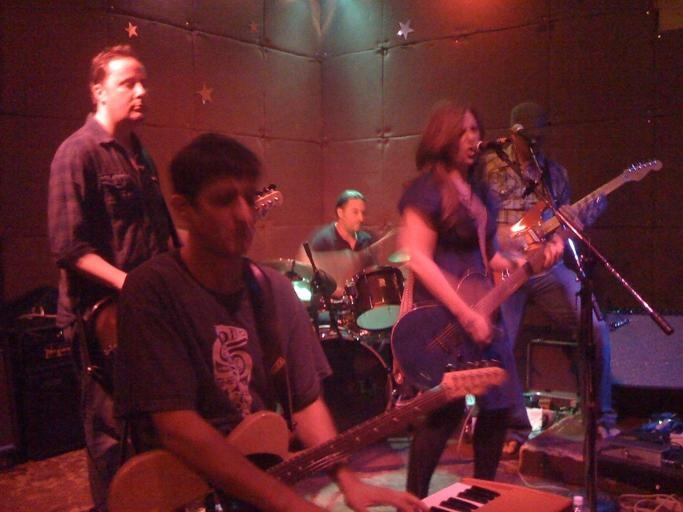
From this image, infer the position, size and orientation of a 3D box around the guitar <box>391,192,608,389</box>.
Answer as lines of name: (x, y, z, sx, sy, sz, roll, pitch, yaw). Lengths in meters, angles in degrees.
guitar: (1.014, 0.221, 3.989, 1.616, 0.675, 0.244, -40, 14, -2)

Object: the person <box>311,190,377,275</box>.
person: (0.047, -0.209, 6.917, 1.021, 1.006, 0.567, -6, 13, -43)

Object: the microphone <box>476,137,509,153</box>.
microphone: (0.888, -0.674, 3.647, 0.189, 0.050, 0.116, -19, 13, -19)

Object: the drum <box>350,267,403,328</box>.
drum: (0.296, 0.335, 5.425, 0.478, 0.363, 0.497, -1, -35, 0)
